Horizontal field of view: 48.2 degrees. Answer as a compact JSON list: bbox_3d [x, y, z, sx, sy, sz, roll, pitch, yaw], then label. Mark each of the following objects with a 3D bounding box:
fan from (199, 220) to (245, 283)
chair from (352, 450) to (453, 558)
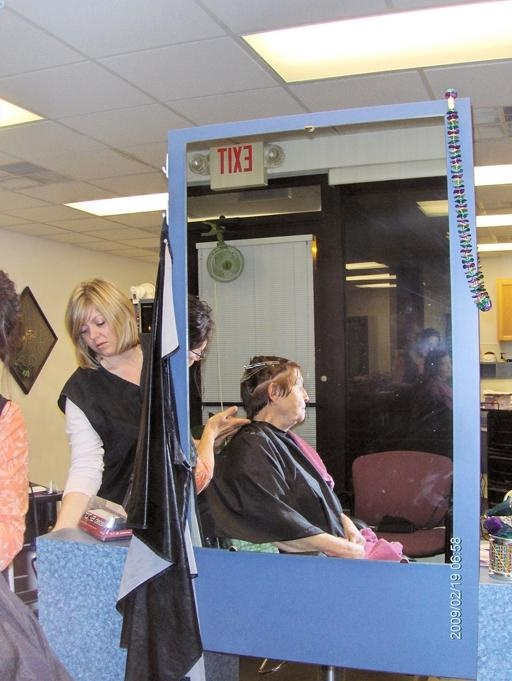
[{"bbox_3d":[-0.064,-0.196,1.277,0.080,0.135,0.069,-8,6,31],"label":"fan"},{"bbox_3d":[0.274,0.338,1.207,0.212,0.242,0.205,0,0,7],"label":"chair"}]
